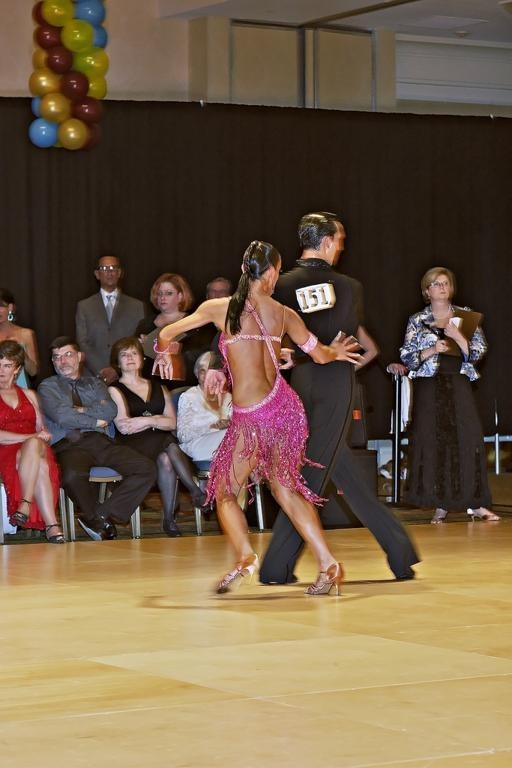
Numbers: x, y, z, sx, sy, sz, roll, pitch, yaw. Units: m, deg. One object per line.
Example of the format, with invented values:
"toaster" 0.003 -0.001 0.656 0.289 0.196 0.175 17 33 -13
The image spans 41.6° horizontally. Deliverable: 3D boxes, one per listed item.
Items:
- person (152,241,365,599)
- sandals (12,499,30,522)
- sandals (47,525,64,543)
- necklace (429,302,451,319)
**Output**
"person" 0.006 0.149 3.017 0.768 1.560 0.522 -4 -9 33
"sandals" -1.599 0.882 4.629 0.070 0.076 0.203 1 5 -4
"sandals" -1.395 1.039 4.703 0.125 0.126 0.207 3 -8 -16
"necklace" 1.492 -0.585 5.520 0.116 0.121 0.144 2 -27 -10
